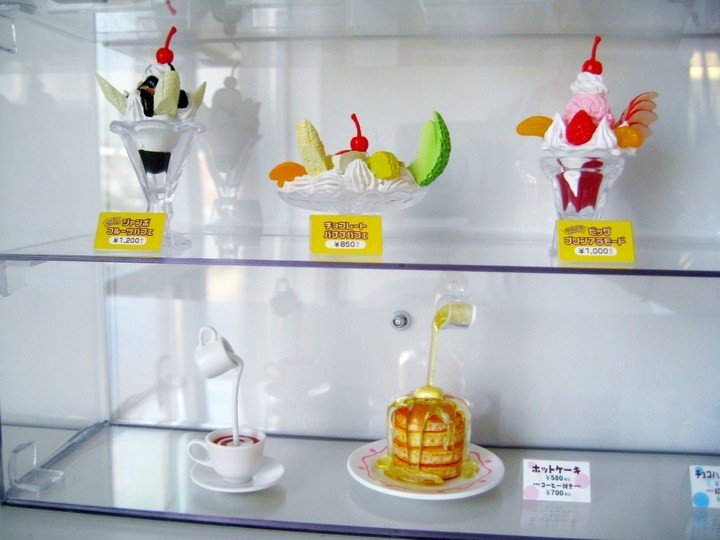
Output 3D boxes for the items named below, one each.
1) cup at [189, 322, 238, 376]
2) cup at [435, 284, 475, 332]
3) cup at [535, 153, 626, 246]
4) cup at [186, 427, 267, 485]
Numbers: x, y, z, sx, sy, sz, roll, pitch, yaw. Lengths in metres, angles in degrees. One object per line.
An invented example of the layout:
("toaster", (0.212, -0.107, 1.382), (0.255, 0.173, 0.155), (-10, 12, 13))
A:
("cup", (-0.335, 0.180, 1.456), (0.085, 0.114, 0.120), (-6, 8, -33))
("cup", (0.215, 0.085, 1.471), (0.079, 0.106, 0.089), (3, -1, -1))
("cup", (0.443, -0.158, 1.323), (0.145, 0.183, 0.151), (-1, 9, 0))
("cup", (-0.280, 0.407, 1.459), (0.145, 0.091, 0.117), (1, 5, 12))
